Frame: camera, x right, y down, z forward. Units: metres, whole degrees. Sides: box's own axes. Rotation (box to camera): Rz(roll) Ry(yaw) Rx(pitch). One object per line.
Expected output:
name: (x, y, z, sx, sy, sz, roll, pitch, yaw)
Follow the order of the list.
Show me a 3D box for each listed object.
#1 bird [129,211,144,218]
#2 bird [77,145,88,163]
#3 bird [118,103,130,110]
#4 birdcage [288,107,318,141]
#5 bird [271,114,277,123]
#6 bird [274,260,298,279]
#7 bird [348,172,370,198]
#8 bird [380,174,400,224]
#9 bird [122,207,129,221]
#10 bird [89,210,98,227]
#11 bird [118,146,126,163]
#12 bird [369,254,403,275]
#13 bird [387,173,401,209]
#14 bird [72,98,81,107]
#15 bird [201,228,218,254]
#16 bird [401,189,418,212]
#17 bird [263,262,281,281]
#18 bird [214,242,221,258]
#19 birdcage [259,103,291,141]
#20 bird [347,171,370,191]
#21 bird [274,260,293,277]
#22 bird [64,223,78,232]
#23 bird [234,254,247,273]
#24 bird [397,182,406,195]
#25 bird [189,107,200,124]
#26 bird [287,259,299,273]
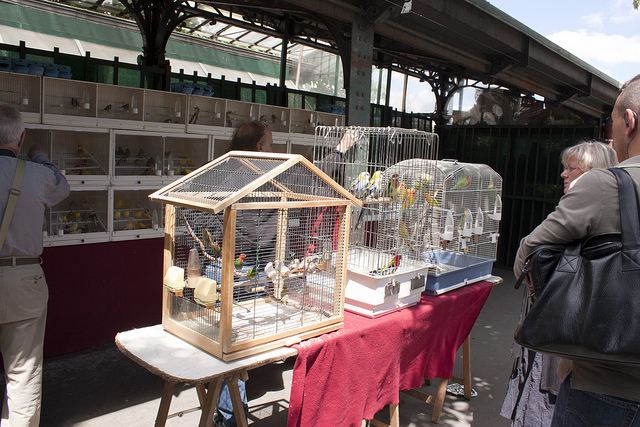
bird: (-2.374, 0.025, 6.014, 0.123, 0.048, 0.068, -24, -6, -15)
bird: (-2.922, -0.741, 5.743, 0.143, 0.195, 0.067, 10, 15, 26)
bird: (-2.517, -1.365, 5.921, 0.124, 0.035, 0.078, -5, 5, 35)
birdcage: (-0.301, -1.516, 7.784, 0.440, 0.417, 0.152, 5, 12, -7)
bird: (-0.741, -1.512, 7.357, 0.068, 0.128, 0.110, 7, 12, 27)
bird: (-0.265, 0.387, 3.209, 0.201, 0.089, 0.062, 16, 16, 32)
bird: (0.321, -0.233, 3.873, 0.132, 0.236, 0.045, 21, 14, 18)
bird: (0.579, -0.145, 3.890, 0.160, 0.351, 0.051, 11, 3, 39)
bird: (-2.503, 0.018, 5.950, 0.073, 0.088, 0.062, -2, 11, -18)
bird: (-2.797, 0.072, 5.717, 0.128, 0.188, 0.123, 4, 7, 28)
bird: (-2.582, -0.787, 6.018, 0.072, 0.250, 0.092, 2, -10, -20)
bird: (0.525, 0.416, 3.686, 0.301, 0.135, 0.075, -5, 13, -31)
bird: (0.615, -0.236, 3.891, 0.104, 0.199, 0.094, 2, 11, 5)
bird: (-2.954, -1.342, 5.602, 0.086, 0.098, 0.050, -6, 13, -32)
bird: (-0.761, 0.197, 3.163, 0.049, 0.205, 0.019, -42, -15, 24)
bird: (0.729, -0.102, 3.845, 0.156, 0.189, 0.055, -10, 15, -44)
bird: (-0.330, 0.400, 3.133, 0.108, 0.117, 0.032, -8, 2, -40)
bird: (-0.689, 0.247, 3.087, 0.018, 0.079, 0.076, -4, 8, -45)
birdcage: (-0.780, -1.414, 7.294, 0.615, 0.571, 0.235, -4, 12, -43)
bird: (0.315, -0.261, 3.857, 0.111, 0.184, 0.038, 51, 23, 22)
bird: (-0.267, 0.385, 3.174, 0.094, 0.123, 0.037, 0, 11, -4)
bird: (-2.971, 0.168, 5.518, 0.138, 0.081, 0.110, -7, 14, -37)
bird: (-0.514, 0.322, 2.996, 0.037, 0.124, 0.098, 7, 12, 28)
bird: (0.666, -0.209, 3.847, 0.026, 0.089, 0.087, 20, -14, -29)
bird: (-1.778, -1.357, 6.503, 0.082, 0.337, 0.057, 15, -17, -10)
bird: (-0.185, 0.368, 3.214, 0.060, 0.087, 0.026, 3, 5, -13)
